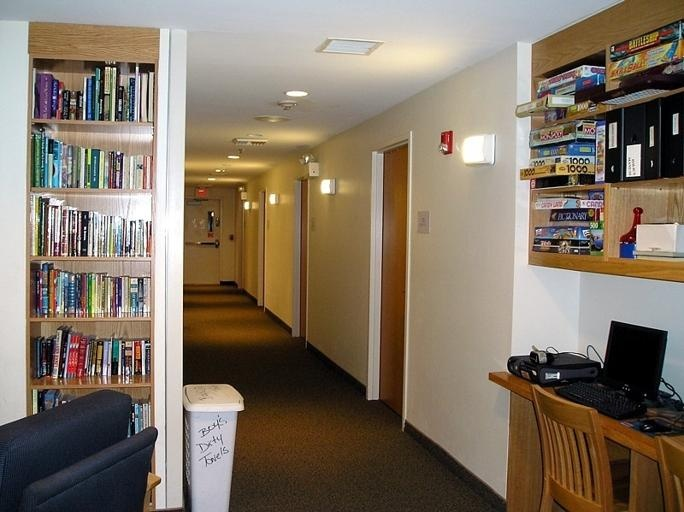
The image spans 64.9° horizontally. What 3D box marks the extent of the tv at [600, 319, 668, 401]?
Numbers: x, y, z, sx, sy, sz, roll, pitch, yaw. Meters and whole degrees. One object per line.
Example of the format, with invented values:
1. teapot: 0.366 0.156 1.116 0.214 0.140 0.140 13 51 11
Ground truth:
1. tv: 1.715 0.615 3.136 0.159 0.442 0.359 14 2 -29

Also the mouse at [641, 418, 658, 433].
1. mouse: 1.548 0.858 2.721 0.053 0.014 0.056 -4 13 5

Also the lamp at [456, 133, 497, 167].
1. lamp: 0.950 -0.740 3.798 0.093 0.207 0.265 -3 6 -38

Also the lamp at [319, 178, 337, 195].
1. lamp: -0.184 -0.893 6.961 0.164 0.309 0.294 0 -2 -24
